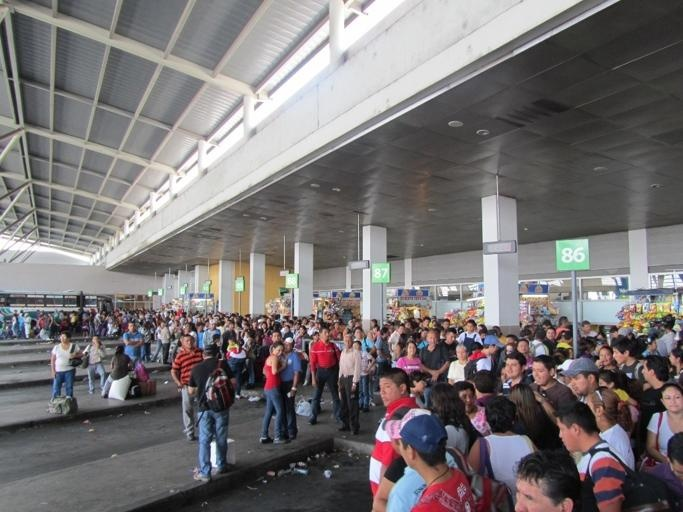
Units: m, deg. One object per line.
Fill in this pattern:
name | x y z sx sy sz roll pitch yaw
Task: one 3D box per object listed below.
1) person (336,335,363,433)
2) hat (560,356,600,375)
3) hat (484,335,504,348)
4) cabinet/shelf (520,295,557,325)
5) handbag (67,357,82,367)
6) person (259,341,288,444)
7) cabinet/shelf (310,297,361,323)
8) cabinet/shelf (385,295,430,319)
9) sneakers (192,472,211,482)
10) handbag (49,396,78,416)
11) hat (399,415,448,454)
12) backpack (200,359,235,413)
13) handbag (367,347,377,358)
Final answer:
person | 0.163 2.323 8.310 0.402 1.722 0.754 1 -6 0
hat | 2.505 1.156 4.764 0.331 0.123 0.211 -5 -10 13
hat | 2.756 1.533 8.130 0.410 0.214 0.282 8 -1 -32
cabinet/shelf | 7.006 1.958 16.134 0.991 0.892 0.455 2 -15 -15
handbag | -6.132 2.480 10.444 0.209 0.368 0.256 7 33 -20
person | -1.134 2.329 7.706 0.426 1.663 0.531 2 -6 -10
cabinet/shelf | -0.154 2.637 22.547 1.789 0.576 1.234 -1 1 -38
cabinet/shelf | 2.697 2.242 19.750 2.203 0.946 2.231 -3 -7 28
sneakers | -1.891 2.987 6.158 0.266 0.116 0.107 -1 -9 45
handbag | -5.962 3.219 9.755 0.422 0.295 0.436 -3 -8 20
hat | 0.518 1.111 2.923 0.289 0.201 0.375 10 -11 -33
backpack | -1.711 1.816 6.295 0.418 0.682 0.374 2 -6 -8
handbag | 0.739 2.294 10.695 0.200 0.092 0.263 25 -5 -14
